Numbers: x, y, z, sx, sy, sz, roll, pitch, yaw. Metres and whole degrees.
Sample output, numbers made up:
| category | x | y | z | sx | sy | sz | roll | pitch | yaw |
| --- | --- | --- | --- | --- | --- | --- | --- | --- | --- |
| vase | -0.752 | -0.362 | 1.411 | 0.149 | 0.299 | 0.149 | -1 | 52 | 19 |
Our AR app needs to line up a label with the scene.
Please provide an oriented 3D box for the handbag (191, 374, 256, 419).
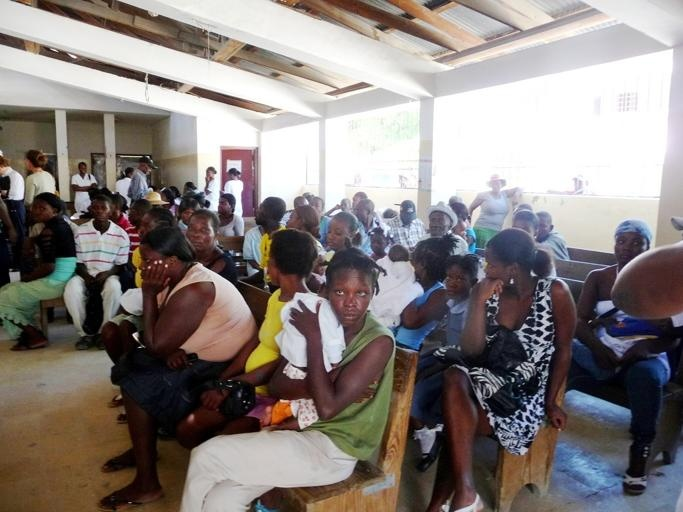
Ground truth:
| category | x | y | z | sx | sy | sz | roll | pitch | yaw |
| --- | --- | --- | --- | --- | --- | --- | --- | --- | --- |
| handbag | -0.564 | 0.676 | 2.414 | 0.283 | 0.165 | 0.116 | 1 | -5 | 29 |

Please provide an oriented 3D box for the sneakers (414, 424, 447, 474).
| category | x | y | z | sx | sy | sz | roll | pitch | yaw |
| --- | --- | --- | --- | --- | --- | --- | --- | --- | --- |
| sneakers | 0.530 | 1.143 | 2.969 | 0.152 | 0.356 | 0.117 | 14 | 18 | 2 |

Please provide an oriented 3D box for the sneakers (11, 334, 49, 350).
| category | x | y | z | sx | sy | sz | roll | pitch | yaw |
| --- | --- | --- | --- | --- | --- | --- | --- | --- | --- |
| sneakers | -2.959 | 0.820 | 4.680 | 0.349 | 0.126 | 0.122 | 3 | 1 | -17 |

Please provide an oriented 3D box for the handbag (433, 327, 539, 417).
| category | x | y | z | sx | sy | sz | roll | pitch | yaw |
| --- | --- | --- | --- | --- | --- | --- | --- | --- | --- |
| handbag | 0.771 | 0.635 | 2.561 | 0.381 | 0.486 | 0.215 | 53 | -2 | 29 |

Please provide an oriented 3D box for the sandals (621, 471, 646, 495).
| category | x | y | z | sx | sy | sz | roll | pitch | yaw |
| --- | --- | --- | --- | --- | --- | --- | --- | --- | --- |
| sandals | 1.653 | 1.267 | 2.742 | 0.160 | 0.088 | 0.095 | 1 | 12 | 1 |
